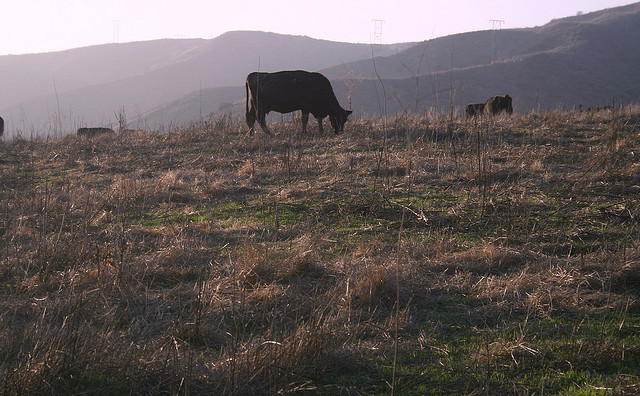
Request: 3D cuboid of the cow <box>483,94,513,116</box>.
[{"bbox_3d":[17.689,-9.343,71.679,3.043,1.794,1.515,-7,10,-26],"label":"cow"}]
